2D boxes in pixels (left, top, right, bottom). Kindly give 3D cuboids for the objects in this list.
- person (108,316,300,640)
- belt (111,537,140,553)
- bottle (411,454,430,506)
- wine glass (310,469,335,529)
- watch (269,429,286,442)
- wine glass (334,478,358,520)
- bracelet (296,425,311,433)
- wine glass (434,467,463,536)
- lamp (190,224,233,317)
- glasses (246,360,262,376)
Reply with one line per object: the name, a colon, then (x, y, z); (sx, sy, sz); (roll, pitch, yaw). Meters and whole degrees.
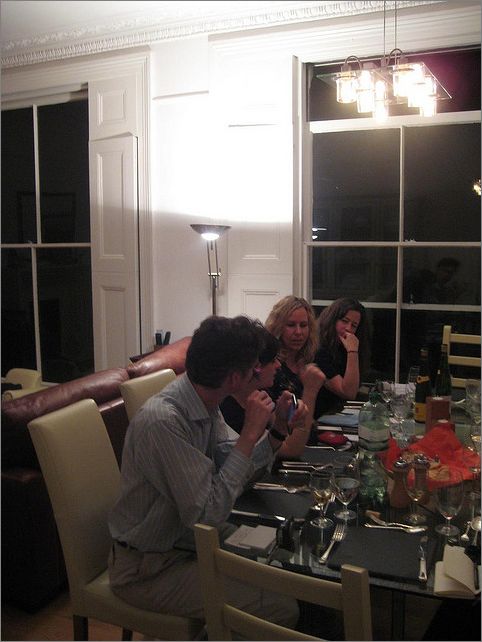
person: (-0.137, 0.308, 1.712); (0.615, 1.325, 0.556); (-1, 8, -1)
belt: (-0.297, 0.578, 1.322); (0.052, 0.014, 0.054); (33, -28, -1)
bottle: (0.426, 0.371, 1.215); (0.033, 0.094, 0.103); (1, 5, 20)
wine glass: (0.190, 0.404, 1.205); (0.052, 0.122, 0.121); (0, 5, 10)
watch: (0.117, 0.361, 1.628); (0.039, 0.019, 0.033); (44, 0, -23)
wine glass: (0.256, 0.414, 1.245); (0.057, 0.099, 0.123); (0, 5, 11)
bracelet: (0.198, 0.345, 1.644); (0.045, 0.017, 0.045); (-10, -4, -45)
wine glass: (0.470, 0.403, 1.167); (0.053, 0.136, 0.152); (1, 5, 21)
lamp: (-0.213, -0.394, 3.955); (0.290, 0.705, 0.509); (-1, 5, -4)
glasses: (0.038, 0.131, 1.417); (0.029, 0.038, 0.039); (3, 0, -15)
